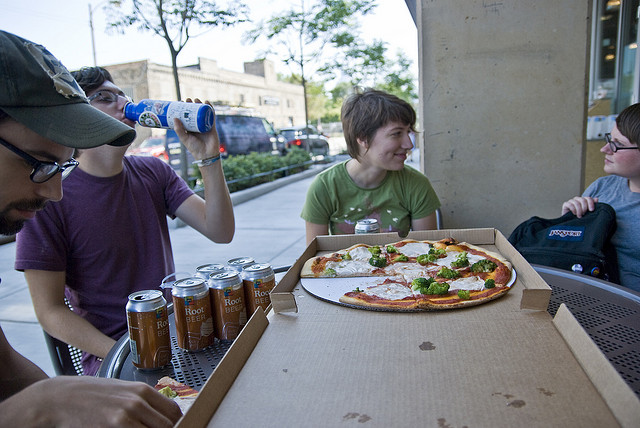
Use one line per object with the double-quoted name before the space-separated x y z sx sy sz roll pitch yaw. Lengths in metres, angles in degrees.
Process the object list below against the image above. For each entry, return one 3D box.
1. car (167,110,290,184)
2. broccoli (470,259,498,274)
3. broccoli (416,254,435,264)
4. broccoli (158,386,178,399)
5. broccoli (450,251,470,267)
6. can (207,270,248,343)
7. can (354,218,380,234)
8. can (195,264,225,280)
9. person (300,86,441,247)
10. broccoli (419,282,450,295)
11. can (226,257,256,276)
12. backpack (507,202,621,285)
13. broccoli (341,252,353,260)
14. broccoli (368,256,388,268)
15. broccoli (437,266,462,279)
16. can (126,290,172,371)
"car" -2.225 -2.166 14.199 1.440 1.769 3.810 4 13 28
"broccoli" 0.727 0.238 2.048 0.070 0.044 0.071 -3 -2 9
"broccoli" 0.499 0.217 2.202 0.063 0.029 0.046 -2 2 -24
"broccoli" -0.494 0.587 1.497 0.043 0.018 0.054 6 25 -47
"broccoli" 0.647 0.215 2.142 0.065 0.024 0.069 -10 4 -3
"can" -0.352 0.363 1.827 0.117 0.249 0.163 -8 10 -27
"can" 0.244 0.071 2.471 0.090 0.082 0.090 -2 5 25
"can" -0.455 0.227 1.863 0.074 0.072 0.073 3 13 7
"person" 0.339 -0.241 3.237 0.955 1.164 0.762 -4 5 6
"broccoli" 0.470 0.311 1.875 0.075 0.035 0.060 -8 -14 29
"can" -0.339 0.216 1.899 0.079 0.072 0.075 -2 5 -8
"backpack" 1.401 0.158 2.564 0.541 0.204 0.555 -2 37 40
"broccoli" 0.117 0.207 2.208 0.028 0.028 0.029 19 35 -10
"broccoli" 0.267 0.230 2.161 0.057 0.018 0.055 6 6 -24
"broccoli" 0.570 0.260 2.056 0.064 0.024 0.061 -4 3 -20
"can" -0.616 0.420 1.710 0.129 0.273 0.157 -7 14 -29
